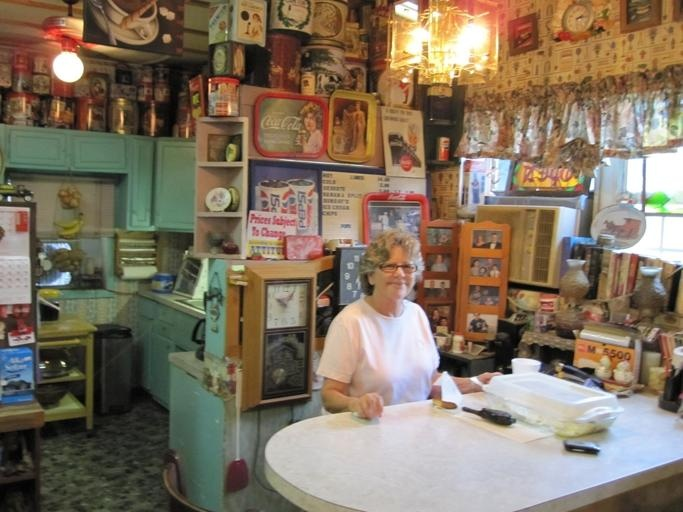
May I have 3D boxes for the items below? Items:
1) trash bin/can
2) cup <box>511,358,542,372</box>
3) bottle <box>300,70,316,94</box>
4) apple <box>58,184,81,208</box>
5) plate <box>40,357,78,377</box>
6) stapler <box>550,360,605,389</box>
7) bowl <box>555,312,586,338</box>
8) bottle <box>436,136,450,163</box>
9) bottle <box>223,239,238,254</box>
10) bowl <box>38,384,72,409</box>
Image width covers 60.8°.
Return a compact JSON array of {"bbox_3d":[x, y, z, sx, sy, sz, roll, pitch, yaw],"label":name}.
[{"bbox_3d":[-2.096,1.054,5.349,0.322,0.760,0.189,-1,10,-22],"label":"trash bin/can"},{"bbox_3d":[0.819,0.484,2.625,0.090,0.055,0.088,1,-4,0],"label":"cup"},{"bbox_3d":[-0.213,-1.127,3.757,0.095,0.174,0.193,2,8,-5],"label":"bottle"},{"bbox_3d":[-2.641,-0.593,5.667,0.250,0.210,0.215,0,3,29],"label":"apple"},{"bbox_3d":[-2.368,0.933,4.842,0.224,0.119,0.140,-1,9,-23],"label":"plate"},{"bbox_3d":[1.115,0.570,2.780,0.153,0.040,0.116,19,8,38],"label":"stapler"},{"bbox_3d":[1.267,0.385,3.274,0.161,0.123,0.145,1,-5,2],"label":"bowl"},{"bbox_3d":[0.716,-0.763,4.130,0.095,0.174,0.126,3,8,7],"label":"bottle"},{"bbox_3d":[-0.635,-0.056,3.373,0.094,0.073,0.085,-5,4,-16],"label":"bottle"},{"bbox_3d":[-2.380,1.148,4.812,0.234,0.098,0.211,1,-7,1],"label":"bowl"}]
